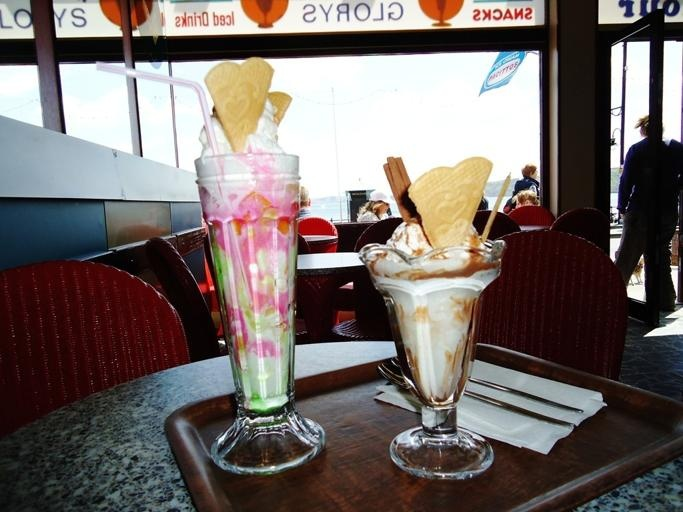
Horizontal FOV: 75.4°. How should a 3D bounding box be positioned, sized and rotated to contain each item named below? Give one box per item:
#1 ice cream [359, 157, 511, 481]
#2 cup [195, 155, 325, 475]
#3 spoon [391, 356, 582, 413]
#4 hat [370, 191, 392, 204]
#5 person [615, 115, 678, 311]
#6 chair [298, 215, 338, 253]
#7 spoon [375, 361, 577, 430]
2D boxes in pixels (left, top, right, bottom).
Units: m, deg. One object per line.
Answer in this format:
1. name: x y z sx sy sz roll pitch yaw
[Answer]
1. ice cream: 0.119 0.069 0.580 0.177 0.382 0.183 1 14 20
2. cup: -0.113 0.069 0.583 0.160 0.395 0.149 -3 13 1
3. spoon: 0.250 0.228 0.726 0.246 0.078 0.026 2 10 45
4. hat: 0.565 -0.879 6.661 0.426 0.182 0.293 -2 9 1
5. person: 2.898 -0.375 4.079 0.469 1.764 0.637 -1 13 11
6. chair: -0.222 -0.196 4.308 0.367 0.321 0.390 0 -1 -6
7. spoon: 0.209 0.189 0.711 0.292 0.028 0.098 5 5 33
